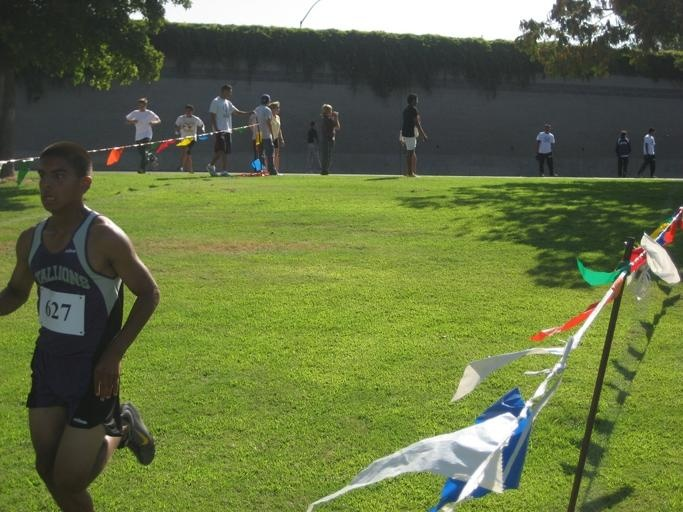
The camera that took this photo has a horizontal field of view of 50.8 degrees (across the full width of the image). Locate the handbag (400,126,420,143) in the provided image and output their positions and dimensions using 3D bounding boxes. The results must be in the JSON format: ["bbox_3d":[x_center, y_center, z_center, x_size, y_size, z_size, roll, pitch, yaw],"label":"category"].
[{"bbox_3d":[1.630,-2.912,17.208,0.354,0.441,0.707,-1,15,0],"label":"handbag"}]

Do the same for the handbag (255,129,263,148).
[{"bbox_3d":[-2.034,-2.943,17.846,0.128,0.695,0.133,-16,33,-23],"label":"handbag"}]
